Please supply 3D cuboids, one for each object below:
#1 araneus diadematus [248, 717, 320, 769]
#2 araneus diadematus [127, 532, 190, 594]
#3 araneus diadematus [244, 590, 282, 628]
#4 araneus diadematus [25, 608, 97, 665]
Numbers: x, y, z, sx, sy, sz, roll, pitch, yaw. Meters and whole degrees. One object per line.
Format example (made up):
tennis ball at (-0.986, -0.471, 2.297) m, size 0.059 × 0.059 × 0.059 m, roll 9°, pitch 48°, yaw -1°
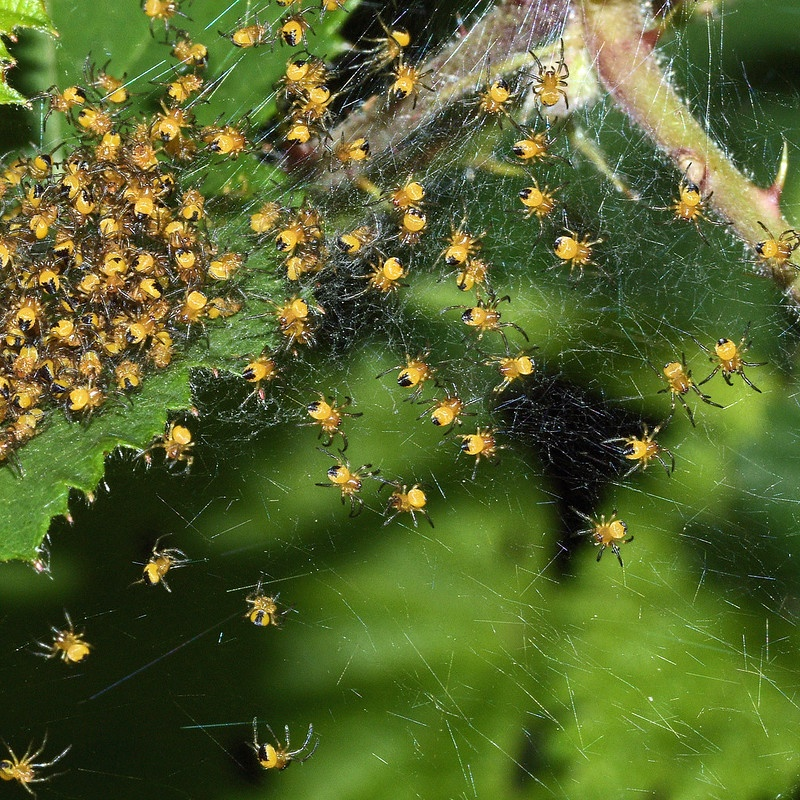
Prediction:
araneus diadematus at (-0.299, 0.851, 2.513) m, size 0.123 × 0.122 × 0.045 m, roll -9°, pitch 15°, yaw 4°
araneus diadematus at (-0.590, 0.411, 2.541) m, size 0.130 × 0.113 × 0.049 m, roll -21°, pitch 9°, yaw 17°
araneus diadematus at (-0.342, 0.515, 2.534) m, size 0.062 × 0.060 × 0.072 m, roll 0°, pitch 46°, yaw 46°
araneus diadematus at (-0.823, 0.594, 2.516) m, size 0.116 × 0.104 × 0.069 m, roll -47°, pitch 32°, yaw -18°
